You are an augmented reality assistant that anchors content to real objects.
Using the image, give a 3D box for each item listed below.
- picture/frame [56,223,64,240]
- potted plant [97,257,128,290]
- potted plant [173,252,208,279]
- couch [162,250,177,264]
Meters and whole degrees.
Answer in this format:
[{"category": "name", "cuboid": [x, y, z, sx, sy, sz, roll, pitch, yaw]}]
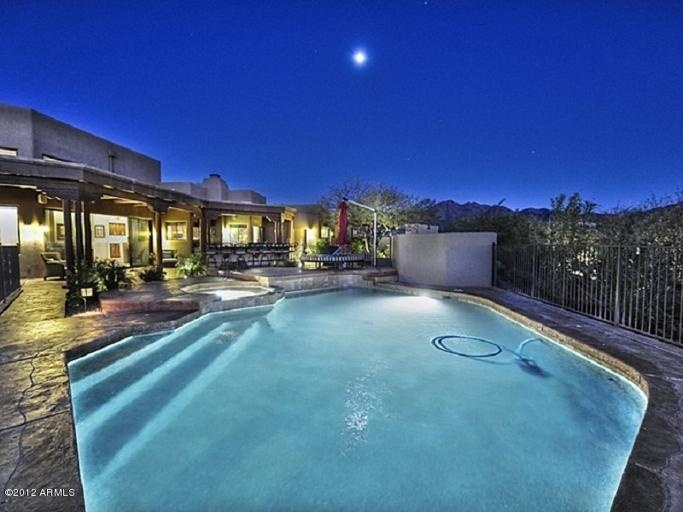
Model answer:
[{"category": "picture/frame", "cuboid": [-10.180, -0.900, 14.933, 0.120, 0.630, 0.494, -3, 14, -15]}, {"category": "potted plant", "cuboid": [-6.605, 0.506, 11.629, 0.820, 1.027, 0.935, 1, -1, -12]}, {"category": "potted plant", "cuboid": [-5.564, 0.335, 15.064, 0.861, 0.733, 1.014, 3, 2, 41]}, {"category": "couch", "cuboid": [-7.804, -0.002, 18.851, 0.677, 0.513, 0.641, -1, 5, -40]}]
